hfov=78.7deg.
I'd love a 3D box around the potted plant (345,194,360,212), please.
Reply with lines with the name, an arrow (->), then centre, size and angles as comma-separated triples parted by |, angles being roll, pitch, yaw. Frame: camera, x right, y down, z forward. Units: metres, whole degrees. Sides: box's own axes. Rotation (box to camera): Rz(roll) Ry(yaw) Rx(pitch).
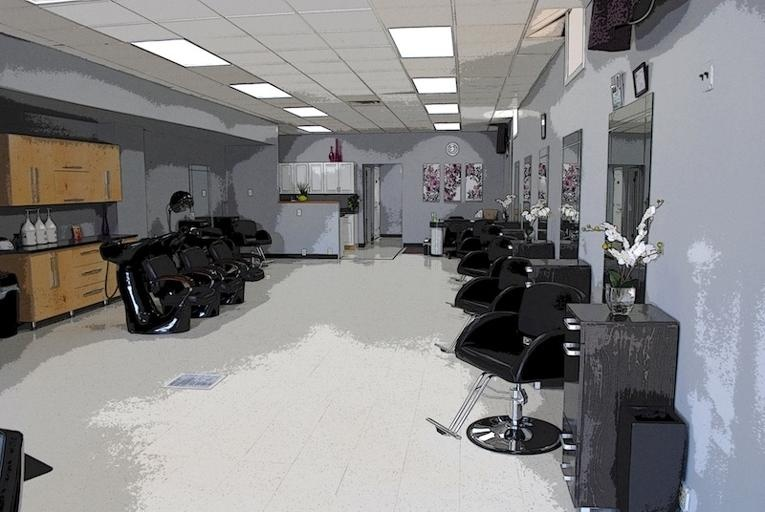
potted plant -> -0.916, -1.712, 14.715 | 0.495, 0.639, 0.544 | 1, 2, -17

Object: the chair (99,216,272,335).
chair -> -3.073, 0.218, 7.502 | 1.588, 1.347, 2.749 | -1, 11, -6

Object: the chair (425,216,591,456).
chair -> 1.251, 0.910, 4.312 | 1.382, 1.585, 1.136 | 0, 2, -23

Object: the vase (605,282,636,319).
vase -> 1.582, 0.294, 3.075 | 0.206, 0.241, 0.212 | -2, -4, 39

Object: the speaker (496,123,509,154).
speaker -> 3.416, -3.347, 13.140 | 0.322, 0.801, 0.898 | 2, 11, 13

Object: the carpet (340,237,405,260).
carpet -> -0.179, -0.213, 14.309 | 1.664, 0.154, 4.409 | 1, 10, 5
